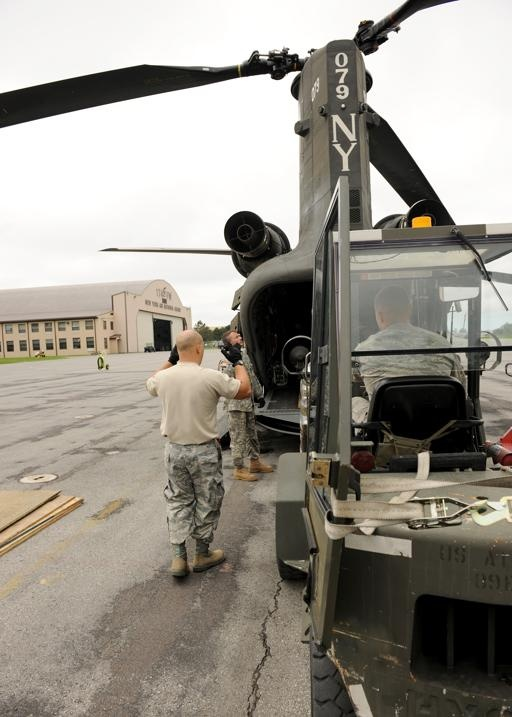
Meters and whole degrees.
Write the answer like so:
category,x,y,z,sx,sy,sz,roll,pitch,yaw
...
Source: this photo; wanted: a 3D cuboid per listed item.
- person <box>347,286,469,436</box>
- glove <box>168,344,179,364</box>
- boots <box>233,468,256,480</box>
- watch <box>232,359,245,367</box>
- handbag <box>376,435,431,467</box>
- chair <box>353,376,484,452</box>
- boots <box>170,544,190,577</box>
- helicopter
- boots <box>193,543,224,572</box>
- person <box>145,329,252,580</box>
category,x,y,z,sx,sy,sz,roll,pitch,yaw
person,0.730,-0.015,2.596,0.525,0.731,0.440,-3,-7,3
glove,-0.574,-0.036,3.604,0.085,0.070,0.140,1,8,-4
boots,-0.110,1.135,5.264,0.264,0.107,0.094,-1,2,12
watch,-0.120,0.019,3.494,0.078,0.049,0.077,4,11,4
handbag,0.626,0.355,2.255,0.174,0.062,0.178,3,4,42
chair,0.763,0.193,2.447,0.347,0.437,0.445,0,13,6
boots,-0.431,1.210,3.142,0.080,0.152,0.219,0,-2,-1
helicopter,0.196,-1.256,5.717,3.937,2.322,4.420,-1,11,-1
boots,-0.308,1.224,3.341,0.104,0.158,0.254,3,10,38
person,-0.364,0.549,3.380,0.658,1.493,0.592,-2,3,-13
